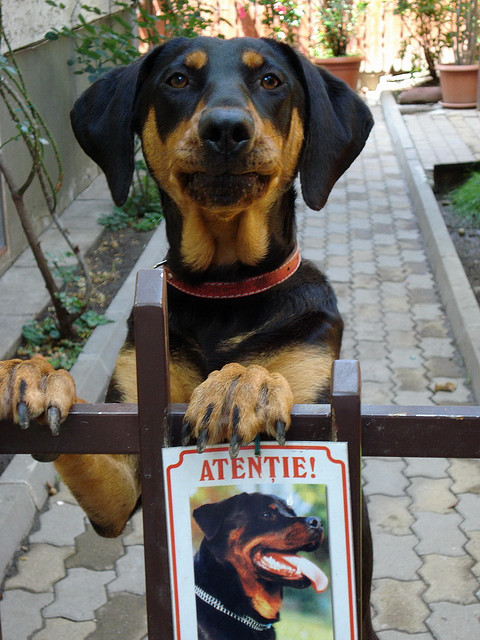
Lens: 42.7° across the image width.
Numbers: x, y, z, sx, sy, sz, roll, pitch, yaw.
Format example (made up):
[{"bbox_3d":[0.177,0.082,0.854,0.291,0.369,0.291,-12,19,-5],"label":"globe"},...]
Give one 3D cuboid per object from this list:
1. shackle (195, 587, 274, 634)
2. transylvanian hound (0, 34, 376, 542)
[{"bbox_3d":[-0.008,0.516,1.105,0.020,0.115,0.085,-58,21,-11],"label":"shackle"},{"bbox_3d":[-0.032,-0.025,2.618,0.922,2.204,1.187,-2,62,-1],"label":"transylvanian hound"}]
